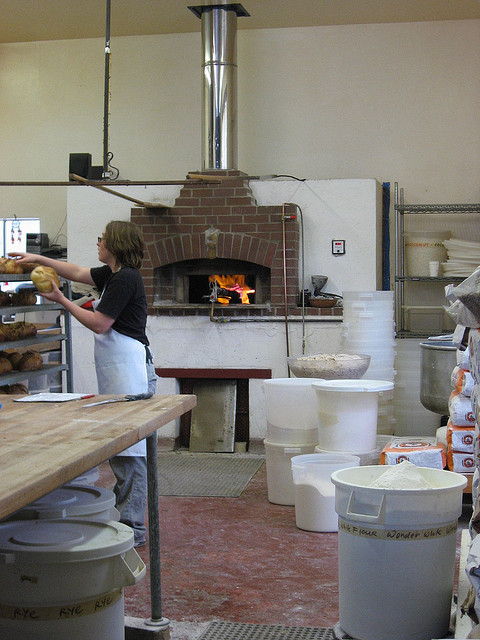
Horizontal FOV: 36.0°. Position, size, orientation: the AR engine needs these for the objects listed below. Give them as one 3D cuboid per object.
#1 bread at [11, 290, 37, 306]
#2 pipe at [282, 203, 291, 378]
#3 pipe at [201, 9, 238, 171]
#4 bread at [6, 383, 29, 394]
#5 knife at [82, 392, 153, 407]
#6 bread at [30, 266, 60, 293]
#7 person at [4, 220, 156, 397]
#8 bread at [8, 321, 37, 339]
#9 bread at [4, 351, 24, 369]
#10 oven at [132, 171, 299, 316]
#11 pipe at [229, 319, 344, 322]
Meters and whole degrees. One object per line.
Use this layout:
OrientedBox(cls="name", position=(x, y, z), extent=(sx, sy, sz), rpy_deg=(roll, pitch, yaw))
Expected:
OrientedBox(cls="bread", position=(-1.204, -0.116, 4.111), extent=(0.099, 0.085, 0.097), rpy_deg=(-1, -3, 33))
OrientedBox(cls="pipe", position=(0.354, -0.237, 5.714), extent=(0.050, 1.026, 0.041), rpy_deg=(-1, 1, -29))
OrientedBox(cls="pipe", position=(-0.165, -1.870, 6.046), extent=(0.278, 1.292, 0.177), rpy_deg=(-1, 1, -6))
OrientedBox(cls="bread", position=(-1.289, 0.398, 4.261), extent=(0.105, 0.047, 0.397), rpy_deg=(-1, 1, -18))
OrientedBox(cls="knife", position=(-0.406, 0.265, 2.460), extent=(0.210, 0.021, 0.042), rpy_deg=(-6, 4, -15))
OrientedBox(cls="bread", position=(-0.832, -0.156, 3.101), extent=(0.104, 0.051, 0.129), rpy_deg=(18, 34, -25))
OrientedBox(cls="person", position=(-0.643, -0.060, 3.188), extent=(0.463, 0.721, 0.587), rpy_deg=(-1, 1, -33))
OrientedBox(cls="bread", position=(-1.243, 0.049, 4.238), extent=(0.152, 0.080, 0.054), rpy_deg=(5, -26, -42))
OrientedBox(cls="bread", position=(-1.295, 0.221, 4.211), extent=(0.082, 0.055, 0.091), rpy_deg=(4, 26, -4))
OrientedBox(cls="oven", position=(-0.169, -0.576, 6.039), extent=(1.393, 1.188, 0.513), rpy_deg=(1, 2, 10))
OrientedBox(cls="pipe", position=(0.348, 0.005, 5.719), extent=(0.854, 0.024, 0.160), rpy_deg=(0, 1, 19))
